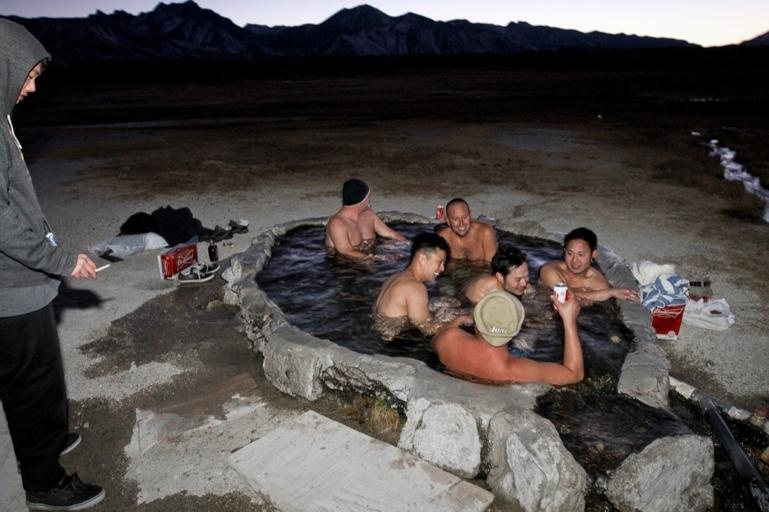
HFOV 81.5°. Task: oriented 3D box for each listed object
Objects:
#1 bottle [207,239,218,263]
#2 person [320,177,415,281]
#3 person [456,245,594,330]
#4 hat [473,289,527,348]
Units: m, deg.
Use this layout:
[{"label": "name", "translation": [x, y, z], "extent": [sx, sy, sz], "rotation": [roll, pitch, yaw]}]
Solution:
[{"label": "bottle", "translation": [-2.726, -0.060, 7.118], "extent": [0.135, 0.328, 0.420], "rotation": [-6, 18, -20]}, {"label": "person", "translation": [-0.427, -0.464, 7.055], "extent": [1.624, 1.429, 1.087], "rotation": [4, 40, 10]}, {"label": "person", "translation": [1.437, 0.341, 5.086], "extent": [0.810, 0.708, 1.102], "rotation": [-34, 39, -7]}, {"label": "hat", "translation": [1.038, 0.580, 4.009], "extent": [0.622, 0.637, 0.228], "rotation": [-1, 0, 14]}]
